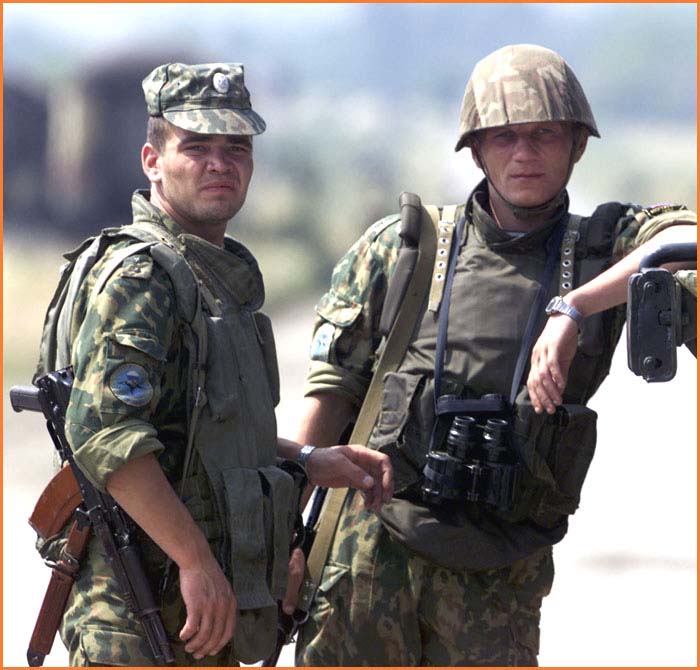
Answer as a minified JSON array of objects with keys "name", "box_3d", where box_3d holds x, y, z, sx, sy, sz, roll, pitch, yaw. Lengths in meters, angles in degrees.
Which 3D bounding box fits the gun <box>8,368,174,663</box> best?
[{"name":"gun","box_3d":[-0.893,0.654,4.144,0.756,1.060,0.156,5,4,27]}]

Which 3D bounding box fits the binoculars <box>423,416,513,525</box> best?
[{"name":"binoculars","box_3d":[0.464,0.489,4.753,0.347,0.351,0.133,4,4,8]}]

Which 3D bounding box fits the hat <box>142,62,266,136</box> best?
[{"name":"hat","box_3d":[-0.518,-0.847,4.401,0.311,0.343,0.359,12,16,42]}]

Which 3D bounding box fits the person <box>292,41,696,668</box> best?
[{"name":"person","box_3d":[0.493,0.127,5.160,1.052,3.037,1.234,1,4,23]}]

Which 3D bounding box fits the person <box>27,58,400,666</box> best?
[{"name":"person","box_3d":[-0.566,0.186,4.203,0.841,2.196,1.074,13,19,-5]}]
